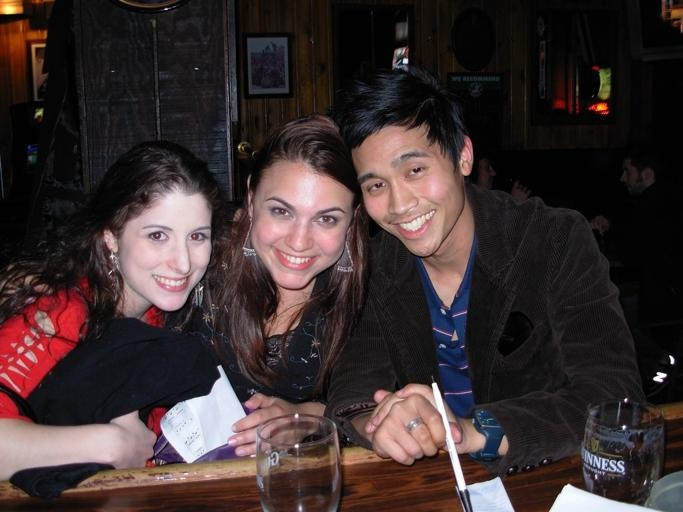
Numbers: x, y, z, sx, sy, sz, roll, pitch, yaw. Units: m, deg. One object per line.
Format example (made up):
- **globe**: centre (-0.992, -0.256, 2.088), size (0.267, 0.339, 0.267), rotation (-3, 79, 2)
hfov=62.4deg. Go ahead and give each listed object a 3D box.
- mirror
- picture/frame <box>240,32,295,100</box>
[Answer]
- **mirror**: centre (2.642, -2.249, 6.556), size (1.070, 1.598, 0.842), rotation (0, 13, 3)
- **picture/frame**: centre (-0.798, -2.024, 5.943), size (0.675, 0.863, 0.058), rotation (-1, 9, -10)
